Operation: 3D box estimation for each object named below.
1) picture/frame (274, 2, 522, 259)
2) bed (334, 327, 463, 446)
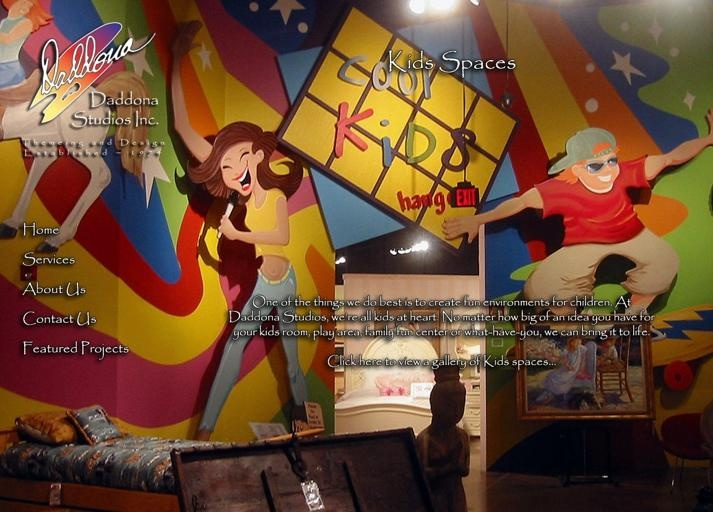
[{"bbox_3d":[0.337,-1.312,6.311,1.914,1.475,0.066,34,-9,-7],"label":"picture/frame"},{"bbox_3d":[0.344,1.564,7.054,1.117,1.085,1.524,-2,-12,8],"label":"bed"}]
